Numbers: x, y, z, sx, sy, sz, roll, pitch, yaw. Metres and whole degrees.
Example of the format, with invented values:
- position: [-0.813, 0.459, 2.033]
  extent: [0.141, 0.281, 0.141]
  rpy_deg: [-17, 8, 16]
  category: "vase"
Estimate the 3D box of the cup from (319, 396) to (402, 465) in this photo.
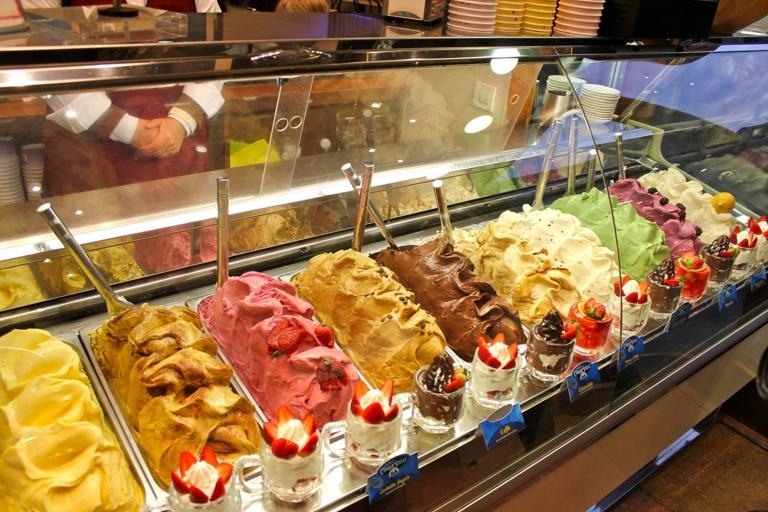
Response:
- position: [-0.075, 0.549, 1.624]
  extent: [0.245, 0.153, 0.167]
  rpy_deg: [-7, 25, -14]
  category: "cup"

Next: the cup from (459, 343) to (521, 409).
- position: [0.365, 0.430, 1.855]
  extent: [0.208, 0.194, 0.203]
  rpy_deg: [0, 28, 0]
  category: "cup"

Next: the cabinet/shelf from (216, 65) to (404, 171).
- position: [-0.293, -0.606, 2.278]
  extent: [0.437, 0.365, 0.805]
  rpy_deg: [17, 25, 37]
  category: "cabinet/shelf"

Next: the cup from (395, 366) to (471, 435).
- position: [0.168, 0.482, 1.774]
  extent: [0.208, 0.200, 0.206]
  rpy_deg: [2, 32, -2]
  category: "cup"

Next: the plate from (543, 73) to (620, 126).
- position: [0.977, -0.755, 2.485]
  extent: [0.329, 0.137, 0.222]
  rpy_deg: [4, 35, -1]
  category: "plate"
